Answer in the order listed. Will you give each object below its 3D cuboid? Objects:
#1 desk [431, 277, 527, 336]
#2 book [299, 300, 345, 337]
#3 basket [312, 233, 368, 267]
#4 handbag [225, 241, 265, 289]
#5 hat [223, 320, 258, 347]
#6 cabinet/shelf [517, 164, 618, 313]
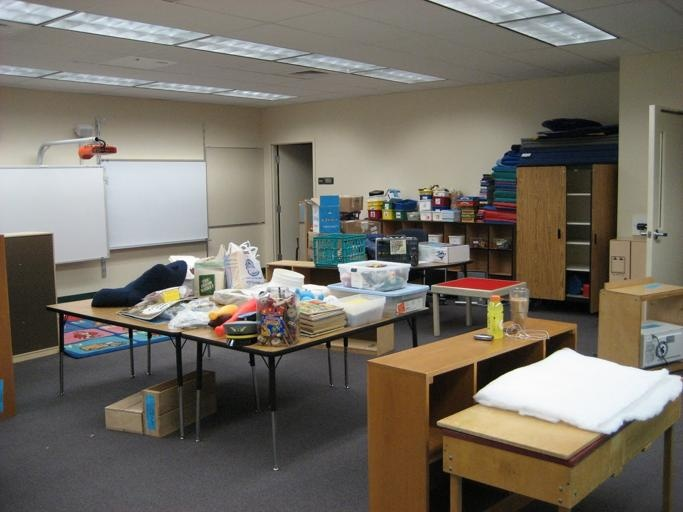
[{"bbox_3d":[1.642,0.437,6.389,0.937,0.670,0.931,1,2,41],"label":"desk"},{"bbox_3d":[-0.162,0.440,3.613,0.253,0.082,0.252,3,6,39],"label":"book"},{"bbox_3d":[-0.042,-0.086,6.511,0.481,0.284,0.480,-1,2,34],"label":"basket"},{"bbox_3d":[-0.901,0.086,4.847,0.370,0.393,0.325,-6,11,-29],"label":"handbag"},{"bbox_3d":[-0.673,0.517,3.456,0.165,0.104,0.196,-1,0,0],"label":"hat"},{"bbox_3d":[3.257,-0.277,7.427,1.159,2.038,0.933,-4,10,-14],"label":"cabinet/shelf"}]
